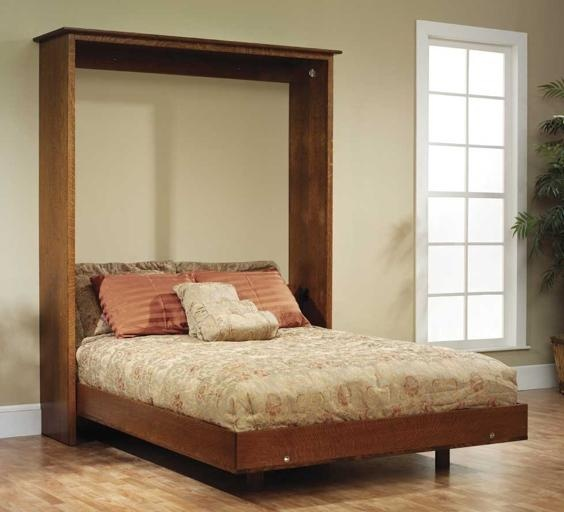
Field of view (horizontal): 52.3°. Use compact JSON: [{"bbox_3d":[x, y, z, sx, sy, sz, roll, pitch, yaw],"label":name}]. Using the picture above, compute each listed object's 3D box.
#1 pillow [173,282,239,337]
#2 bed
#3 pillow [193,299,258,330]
[{"bbox_3d":[-0.443,0.268,3.306,0.339,0.304,0.095,0,-35,-38],"label":"pillow"},{"bbox_3d":[-0.069,0.537,2.971,1.407,0.740,1.964,-4,6,-38],"label":"bed"},{"bbox_3d":[-0.347,0.306,3.216,0.206,0.070,0.231,-4,4,-34],"label":"pillow"}]
